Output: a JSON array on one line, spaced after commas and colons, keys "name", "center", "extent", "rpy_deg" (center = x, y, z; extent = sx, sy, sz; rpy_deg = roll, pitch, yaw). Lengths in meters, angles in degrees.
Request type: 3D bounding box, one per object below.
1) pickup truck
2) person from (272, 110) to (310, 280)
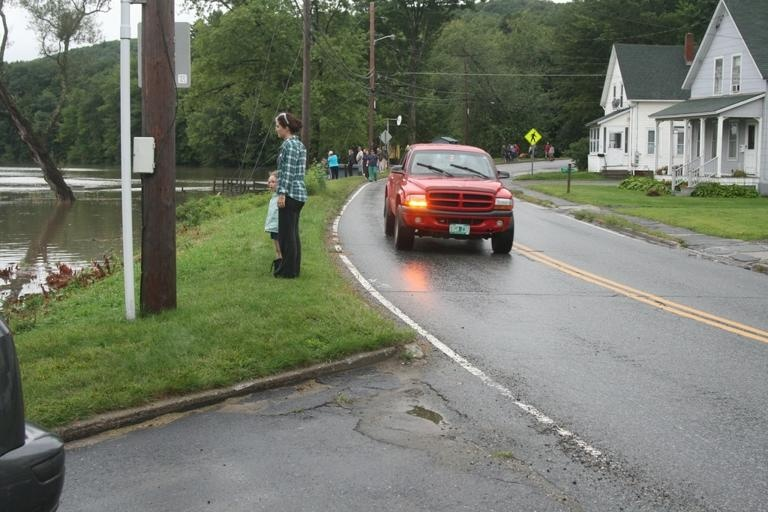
[{"name": "pickup truck", "center": [1.462, -1.338, 18.880], "extent": [2.694, 2.311, 2.865], "rpy_deg": [1, 9, 2]}, {"name": "person", "center": [-1.590, -1.040, 14.123], "extent": [0.554, 2.726, 1.044], "rpy_deg": [0, 9, -6]}]
